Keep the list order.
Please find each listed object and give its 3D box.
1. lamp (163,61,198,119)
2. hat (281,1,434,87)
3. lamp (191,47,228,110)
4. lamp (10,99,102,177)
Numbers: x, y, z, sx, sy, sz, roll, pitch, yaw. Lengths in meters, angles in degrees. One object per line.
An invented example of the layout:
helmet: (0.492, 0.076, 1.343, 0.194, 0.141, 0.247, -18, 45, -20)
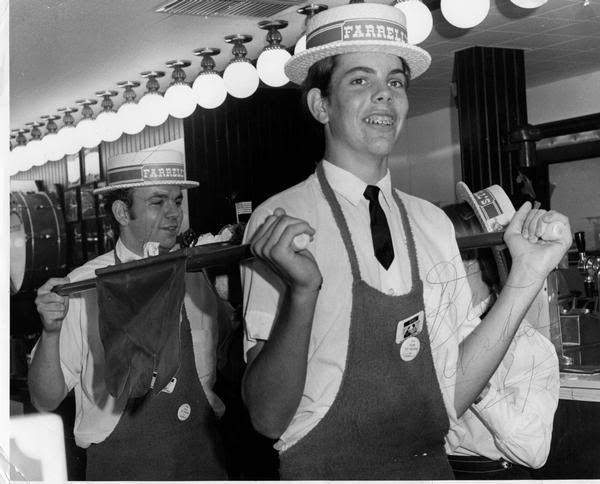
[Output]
lamp: (-0.219, -0.283, 1.222, 0.060, 0.084, 0.062, -2, -1, -15)
hat: (0.100, -0.341, 1.148, 0.223, 0.072, 0.229, -1, -13, 4)
lamp: (-0.172, -0.315, 1.277, 0.057, 0.095, 0.125, -3, 0, 17)
lamp: (-0.417, -0.178, 1.151, 0.148, 0.083, 0.040, -3, -1, -7)
